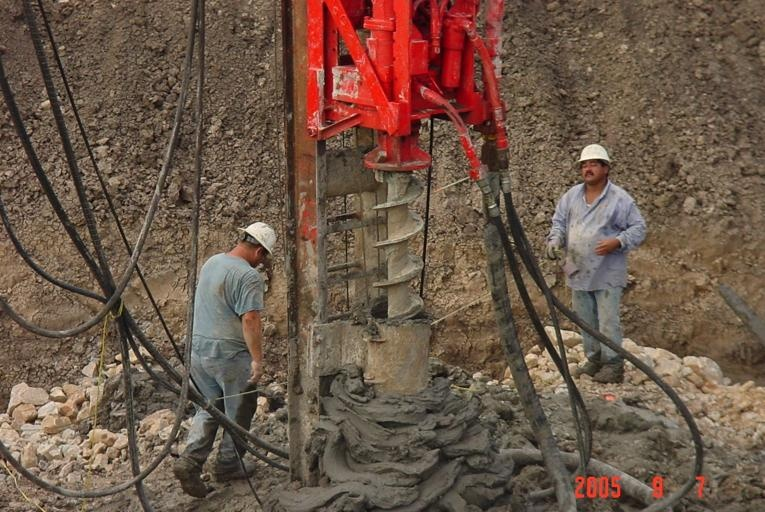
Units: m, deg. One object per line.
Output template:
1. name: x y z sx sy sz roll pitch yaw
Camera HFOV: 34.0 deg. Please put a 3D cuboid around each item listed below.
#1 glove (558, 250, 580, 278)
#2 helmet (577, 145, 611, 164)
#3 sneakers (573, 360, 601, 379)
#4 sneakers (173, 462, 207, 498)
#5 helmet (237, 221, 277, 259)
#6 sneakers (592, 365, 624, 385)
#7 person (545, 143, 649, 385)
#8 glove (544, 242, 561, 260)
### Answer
1. glove: 2.321 0.111 15.648 0.079 0.316 0.234 -3 -6 -44
2. helmet: 2.643 -1.265 15.595 0.376 0.231 0.455 -2 5 22
3. sneakers: 2.591 1.433 15.901 0.428 0.177 0.142 -16 8 20
4. sneakers: -2.280 2.670 14.902 0.239 0.543 0.251 -14 40 12
5. helmet: -1.493 -0.180 15.020 0.235 0.459 0.339 -51 18 -5
6. sneakers: 2.835 1.504 15.814 0.375 0.241 0.191 4 -4 11
7. person: 2.603 -0.167 15.593 1.063 2.136 1.368 -27 38 -21
8. glove: 2.083 -0.031 15.615 0.181 0.234 0.095 -11 18 -25
